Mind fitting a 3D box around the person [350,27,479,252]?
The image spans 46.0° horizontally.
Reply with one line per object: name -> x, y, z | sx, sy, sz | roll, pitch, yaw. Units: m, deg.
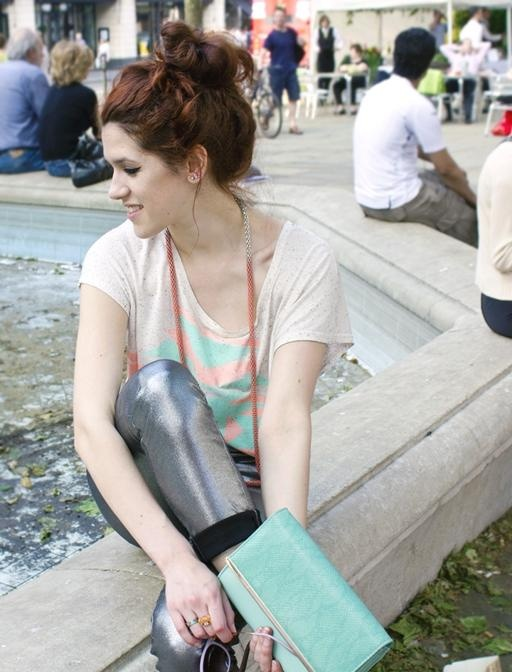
person -> 1.080, -1.332, 4.048 | 0.868, 1.443, 0.586 | 2, 17, 12
